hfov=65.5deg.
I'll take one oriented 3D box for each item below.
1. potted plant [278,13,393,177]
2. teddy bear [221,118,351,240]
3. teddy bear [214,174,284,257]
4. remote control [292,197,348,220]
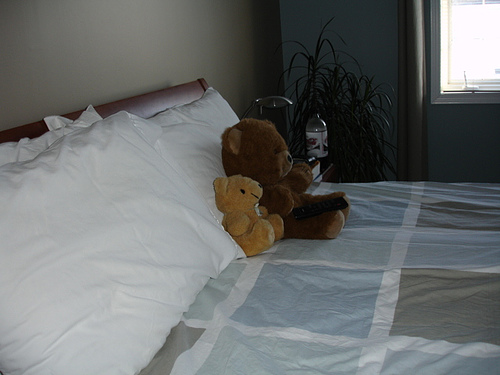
[{"bbox_3d":[0.479,-0.384,2.763,0.656,1.089,0.778,0,17,7],"label":"potted plant"},{"bbox_3d":[0.128,-0.029,1.462,0.432,0.467,0.335,1,16,20],"label":"teddy bear"},{"bbox_3d":[-0.007,0.085,1.331,0.207,0.275,0.252,-7,4,28],"label":"teddy bear"},{"bbox_3d":[0.241,0.073,1.359,0.172,0.031,0.080,-14,24,2],"label":"remote control"}]
